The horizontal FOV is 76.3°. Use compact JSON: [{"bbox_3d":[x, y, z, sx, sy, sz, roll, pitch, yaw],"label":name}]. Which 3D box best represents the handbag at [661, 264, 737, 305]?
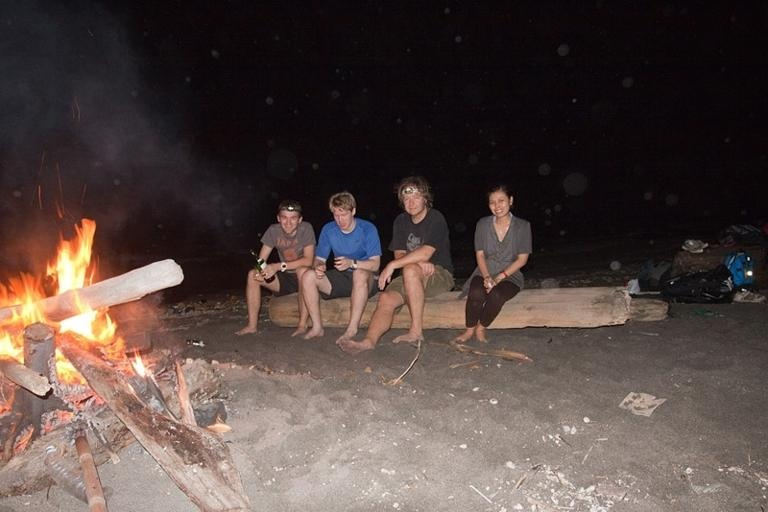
[{"bbox_3d":[4.761,0.497,7.459,1.018,0.387,0.960,-12,7,19],"label":"handbag"}]

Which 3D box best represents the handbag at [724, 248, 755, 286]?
[{"bbox_3d":[5.480,0.199,7.498,0.445,0.637,0.344,-11,7,-16],"label":"handbag"}]

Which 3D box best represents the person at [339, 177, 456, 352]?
[{"bbox_3d":[0.334,0.066,6.188,0.753,2.107,1.380,7,10,27],"label":"person"}]

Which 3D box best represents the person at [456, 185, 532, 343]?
[{"bbox_3d":[1.385,0.086,6.208,0.719,1.940,0.916,10,12,41],"label":"person"}]

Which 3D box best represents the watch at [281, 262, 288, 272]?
[{"bbox_3d":[-1.345,0.144,6.615,0.076,0.118,0.116,20,-20,-27],"label":"watch"}]

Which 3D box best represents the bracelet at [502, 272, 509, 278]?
[{"bbox_3d":[1.524,0.238,6.112,0.066,0.018,0.065,26,-18,-7],"label":"bracelet"}]

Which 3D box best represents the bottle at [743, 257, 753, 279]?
[{"bbox_3d":[5.689,0.197,7.582,0.297,0.301,0.073,4,-4,-40],"label":"bottle"}]
